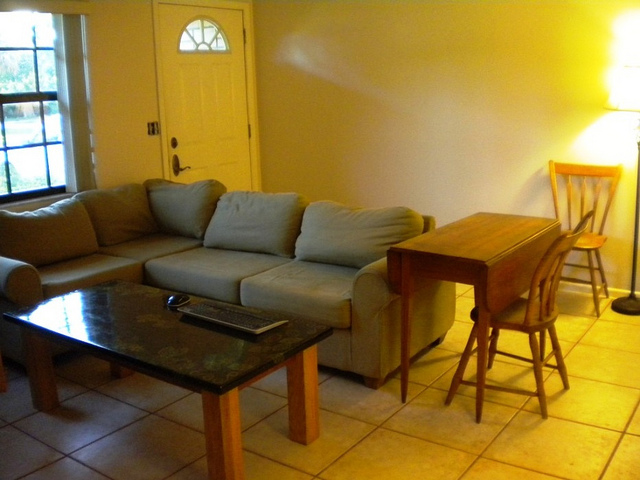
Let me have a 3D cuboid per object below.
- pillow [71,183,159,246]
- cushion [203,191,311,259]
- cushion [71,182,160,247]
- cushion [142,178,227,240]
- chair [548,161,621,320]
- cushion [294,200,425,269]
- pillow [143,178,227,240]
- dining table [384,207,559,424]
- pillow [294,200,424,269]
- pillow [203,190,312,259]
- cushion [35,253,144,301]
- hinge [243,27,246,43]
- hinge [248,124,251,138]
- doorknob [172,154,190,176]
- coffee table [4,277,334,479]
[{"bbox_3d":[-1.723,-0.203,4.305,0.274,0.344,0.557,6,17,45],"label":"pillow"},{"bbox_3d":[-0.485,-0.148,4.030,0.784,0.564,0.214,8,-11,26],"label":"cushion"},{"bbox_3d":[-1.716,-0.200,4.309,0.274,0.345,0.556,8,19,40],"label":"cushion"},{"bbox_3d":[-1.269,-0.305,4.611,0.929,0.523,0.317,9,18,31],"label":"cushion"},{"bbox_3d":[2.233,-0.020,4.413,0.684,1.209,0.669,-23,23,-31],"label":"chair"},{"bbox_3d":[0.309,-0.027,3.746,1.066,0.485,0.388,7,8,39],"label":"cushion"},{"bbox_3d":[-1.235,-0.308,4.608,0.935,0.520,0.315,7,25,36],"label":"pillow"},{"bbox_3d":[1.103,0.357,3.375,0.592,0.846,1.478,8,15,36],"label":"dining table"},{"bbox_3d":[0.298,-0.051,3.756,1.077,0.454,0.398,6,3,38],"label":"pillow"},{"bbox_3d":[-0.502,-0.145,4.034,0.719,0.584,0.198,6,-5,25],"label":"pillow"},{"bbox_3d":[-1.741,0.222,3.729,0.352,0.215,0.528,21,26,39],"label":"cushion"},{"bbox_3d":[-0.829,-2.350,5.718,0.037,0.127,0.038,2,-4,5],"label":"hinge"},{"bbox_3d":[-0.806,-1.287,5.899,0.018,0.145,0.046,13,22,32],"label":"hinge"},{"bbox_3d":[-1.412,-0.785,5.253,0.196,0.206,0.116,9,18,23],"label":"doorknob"},{"bbox_3d":[-0.686,0.524,2.674,2.070,0.649,0.882,8,19,29],"label":"coffee table"}]
